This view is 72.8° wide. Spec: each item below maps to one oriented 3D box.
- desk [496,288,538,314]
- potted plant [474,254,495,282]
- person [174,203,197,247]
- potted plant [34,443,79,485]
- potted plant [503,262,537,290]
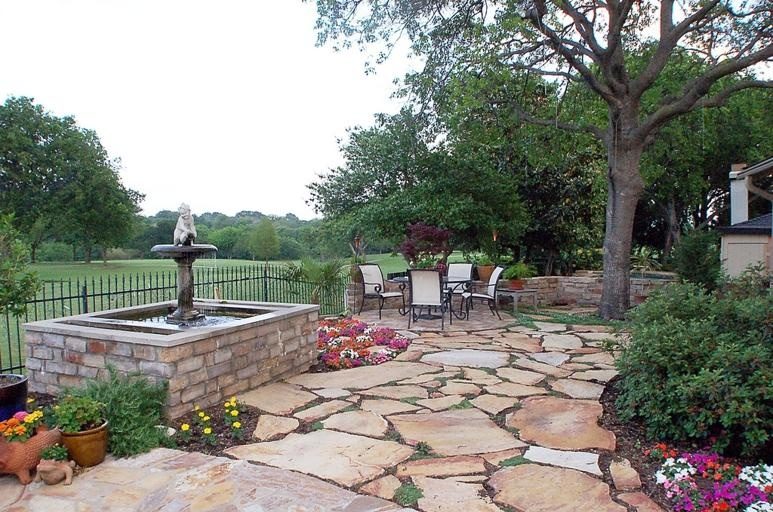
[{"bbox_3d":[3.434,1.096,14.123,0.871,0.629,0.833,0,-1,-34],"label":"desk"},{"bbox_3d":[2.947,0.324,15.173,0.763,0.783,0.751,2,-4,-11],"label":"potted plant"},{"bbox_3d":[-3.318,-0.524,8.624,0.306,0.727,0.436,-1,0,-22],"label":"person"},{"bbox_3d":[-3.912,2.478,6.238,0.349,0.303,0.470,4,-9,-16],"label":"potted plant"},{"bbox_3d":[3.728,0.573,14.754,0.925,0.868,0.898,1,-2,-24],"label":"potted plant"}]
